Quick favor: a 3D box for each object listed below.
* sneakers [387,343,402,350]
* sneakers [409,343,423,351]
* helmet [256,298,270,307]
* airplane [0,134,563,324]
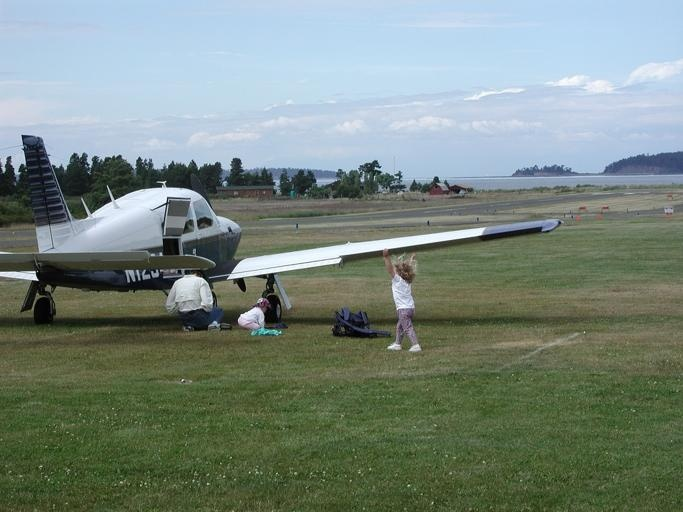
[{"bbox_3d":[0.962,1.610,18.552,0.258,0.124,0.332,-3,4,4],"label":"sneakers"},{"bbox_3d":[1.329,1.621,18.352,0.218,0.124,0.337,-3,3,3],"label":"sneakers"},{"bbox_3d":[-1.563,0.925,20.804,0.246,0.156,0.155,-5,8,-17],"label":"helmet"},{"bbox_3d":[-2.946,-0.549,20.892,8.698,3.992,4.761,-3,4,-1],"label":"airplane"}]
